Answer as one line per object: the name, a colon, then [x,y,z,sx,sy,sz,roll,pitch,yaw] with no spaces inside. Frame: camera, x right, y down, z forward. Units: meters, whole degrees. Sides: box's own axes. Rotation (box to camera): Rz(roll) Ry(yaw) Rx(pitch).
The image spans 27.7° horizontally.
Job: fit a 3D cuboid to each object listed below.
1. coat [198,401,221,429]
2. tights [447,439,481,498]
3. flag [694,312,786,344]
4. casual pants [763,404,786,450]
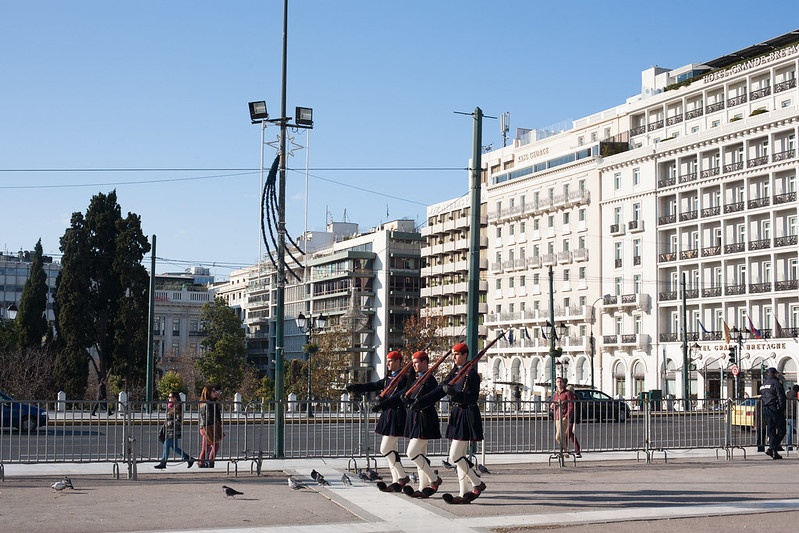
coat: [-8.301,6.509,71.789,1.166,1.207,0.084,-1,4,-1]
tights: [2.772,8.417,67.870,1.206,2.426,0.792,0,4,16]
flag: [25.092,4.589,118.832,4.439,1.945,7.237,-1,3,-13]
casual pants: [17.436,7.541,75.678,0.893,1.970,1.692,1,4,25]
